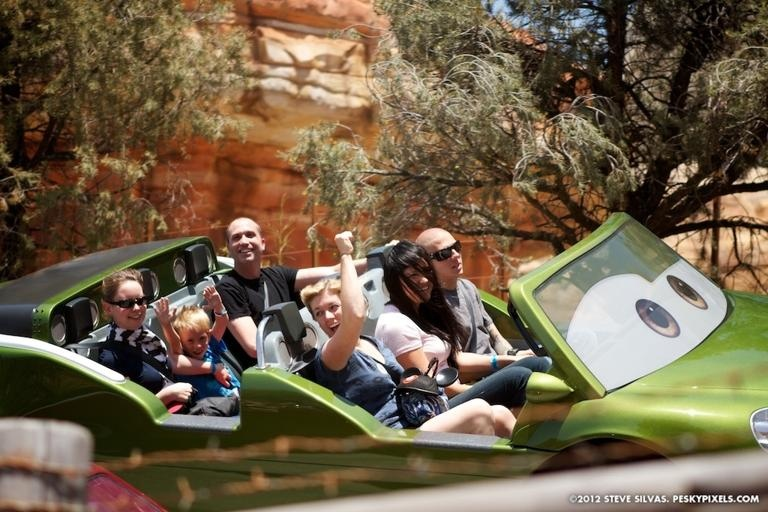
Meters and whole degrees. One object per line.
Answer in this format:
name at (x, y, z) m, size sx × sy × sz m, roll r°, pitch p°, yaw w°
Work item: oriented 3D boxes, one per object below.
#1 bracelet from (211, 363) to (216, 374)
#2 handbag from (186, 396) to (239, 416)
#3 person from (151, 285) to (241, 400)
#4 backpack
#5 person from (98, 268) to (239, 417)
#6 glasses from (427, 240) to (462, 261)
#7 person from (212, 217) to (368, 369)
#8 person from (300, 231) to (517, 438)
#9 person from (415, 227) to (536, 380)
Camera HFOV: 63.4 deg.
bracelet at (-1.049, 0.691, 3.817) m, size 0.018 × 0.038 × 0.051 m, roll 2°, pitch 37°, yaw 3°
handbag at (-0.954, 0.828, 3.450) m, size 0.147 × 0.056 × 0.154 m, roll -4°, pitch 2°, yaw 11°
person at (-1.083, 0.642, 3.829) m, size 0.477 × 0.829 × 0.565 m, roll -11°, pitch 3°, yaw -5°
backpack at (0.160, 0.682, 3.132) m, size 0.249 × 0.311 × 0.297 m, roll 2°, pitch 6°, yaw -1°
person at (-1.178, 0.538, 3.662) m, size 0.997 × 0.806 × 0.604 m, roll 1°, pitch 8°, yaw -4°
glasses at (0.400, -0.015, 3.966) m, size 0.130 × 0.050 × 0.153 m, roll -26°, pitch 5°, yaw -39°
person at (-0.712, 0.227, 4.565) m, size 1.134 × 1.233 × 0.654 m, roll -24°, pitch 20°, yaw -37°
person at (0.149, 0.450, 3.107) m, size 1.115 × 1.238 × 0.617 m, roll -14°, pitch -11°, yaw 37°
person at (0.633, 0.326, 3.990) m, size 0.783 × 1.045 × 0.696 m, roll -11°, pitch 6°, yaw 22°
